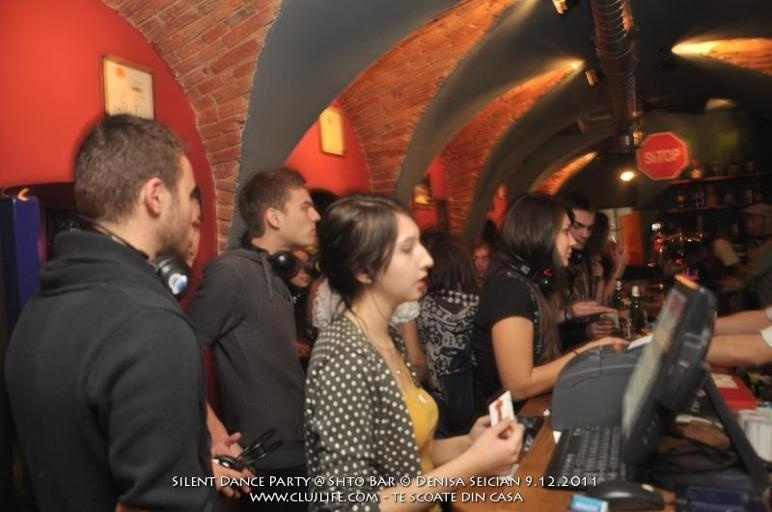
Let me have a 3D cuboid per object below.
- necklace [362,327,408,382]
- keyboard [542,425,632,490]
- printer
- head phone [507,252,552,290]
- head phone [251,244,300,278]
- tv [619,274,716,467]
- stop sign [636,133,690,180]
[{"bbox_3d":[0.021,0.395,2.106,0.145,0.068,0.194,5,36,-28],"label":"necklace"},{"bbox_3d":[0.712,0.686,1.881,0.255,0.320,0.038,1,26,4],"label":"keyboard"},{"bbox_3d":[0.807,0.510,2.131,0.342,0.207,0.352,-4,-7,17],"label":"printer"},{"bbox_3d":[0.781,0.083,2.891,0.199,0.076,0.147,31,10,14],"label":"head phone"},{"bbox_3d":[-0.587,0.038,2.873,0.177,0.079,0.153,30,12,26],"label":"head phone"},{"bbox_3d":[0.878,0.368,1.738,0.287,0.577,0.506,-3,-8,7],"label":"tv"},{"bbox_3d":[5.429,-1.964,10.598,1.040,0.922,0.117,-8,7,-7],"label":"stop sign"}]
